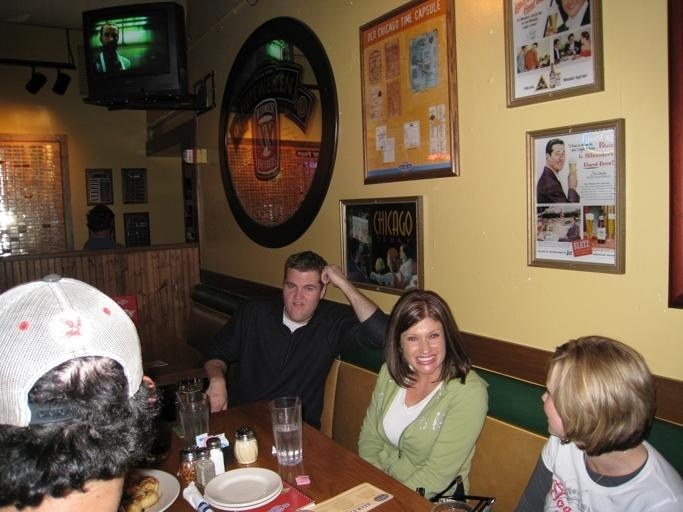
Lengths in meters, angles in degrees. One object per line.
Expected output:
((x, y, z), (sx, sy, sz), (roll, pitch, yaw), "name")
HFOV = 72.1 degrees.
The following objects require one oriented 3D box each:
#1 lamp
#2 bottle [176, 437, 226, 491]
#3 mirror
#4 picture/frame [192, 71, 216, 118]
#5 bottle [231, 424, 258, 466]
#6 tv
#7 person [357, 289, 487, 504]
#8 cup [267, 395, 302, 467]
((-3.877, -2.475, 5.923), (0.802, 0.945, 0.257), (-2, 6, -8), "lamp")
((-0.466, 0.677, 1.580), (0.096, 0.204, 0.173), (0, -3, 39), "bottle")
((-0.538, -0.866, 3.422), (0.053, 1.620, 1.413), (-5, 4, -44), "mirror")
((-1.249, -1.464, 4.268), (0.067, 0.376, 0.472), (-4, 6, -36), "picture/frame")
((-0.340, 0.683, 1.661), (0.072, 0.119, 0.076), (-7, -11, -1), "bottle")
((-1.614, -1.605, 3.678), (0.625, 0.553, 0.376), (-4, 2, 8), "tv")
((0.288, 0.599, 1.974), (0.453, 0.884, 0.532), (-9, 18, -41), "person")
((-0.194, 0.615, 1.652), (0.104, 0.222, 0.082), (-4, 5, -12), "cup")
